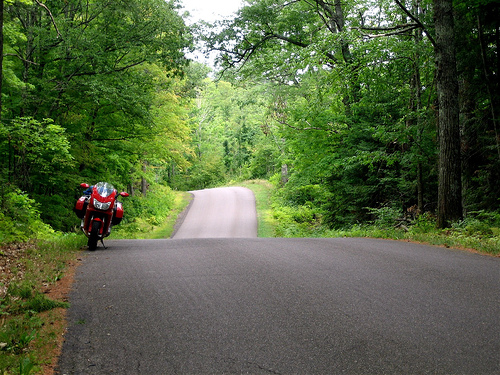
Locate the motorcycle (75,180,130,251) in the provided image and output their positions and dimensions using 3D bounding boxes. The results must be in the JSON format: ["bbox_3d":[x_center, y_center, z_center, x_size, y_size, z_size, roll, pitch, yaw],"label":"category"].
[{"bbox_3d":[-4.176,0.670,11.815,1.017,1.297,2.167,8,-5,-14],"label":"motorcycle"}]
